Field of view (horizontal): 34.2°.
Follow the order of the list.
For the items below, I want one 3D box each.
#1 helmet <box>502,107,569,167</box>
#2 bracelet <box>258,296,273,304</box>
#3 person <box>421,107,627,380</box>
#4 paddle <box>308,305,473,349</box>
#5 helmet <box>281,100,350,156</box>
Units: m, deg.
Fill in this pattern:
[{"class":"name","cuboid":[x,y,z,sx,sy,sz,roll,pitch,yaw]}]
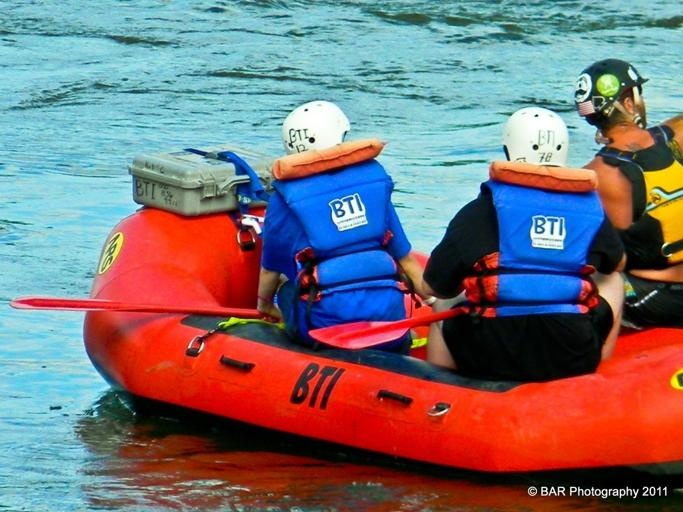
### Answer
[{"class":"helmet","cuboid":[1.035,-0.646,5.979,0.469,0.249,0.312,-1,1,28]},{"class":"bracelet","cuboid":[-0.451,0.251,6.635,0.068,0.058,0.021,8,41,-15]},{"class":"person","cuboid":[0.939,-0.046,6.003,1.129,1.442,0.590,-6,21,3]},{"class":"paddle","cuboid":[0.347,0.417,6.235,1.104,0.036,0.271,-9,15,-16]},{"class":"helmet","cuboid":[-0.152,-0.746,6.580,0.493,0.242,0.296,-2,-4,-10]}]
